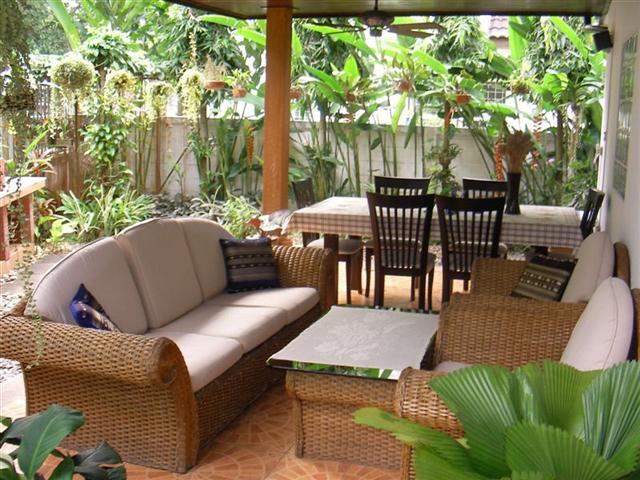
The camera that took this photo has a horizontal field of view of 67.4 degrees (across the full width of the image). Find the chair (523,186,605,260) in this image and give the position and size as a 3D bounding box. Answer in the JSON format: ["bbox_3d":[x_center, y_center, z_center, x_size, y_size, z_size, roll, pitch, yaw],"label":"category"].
[{"bbox_3d":[2.200,-0.188,4.520,0.691,1.088,0.717,5,10,20],"label":"chair"}]

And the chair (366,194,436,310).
[{"bbox_3d":[0.759,0.004,4.451,0.528,1.188,0.611,4,10,16],"label":"chair"}]

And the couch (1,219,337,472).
[{"bbox_3d":[-0.824,0.633,2.798,1.204,1.104,2.195,4,8,21],"label":"couch"}]

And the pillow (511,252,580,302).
[{"bbox_3d":[1.424,0.240,3.035,0.075,0.299,0.316,40,-18,-25],"label":"pillow"}]

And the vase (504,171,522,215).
[{"bbox_3d":[1.807,-0.436,4.469,0.129,0.401,0.306,3,9,21],"label":"vase"}]

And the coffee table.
[{"bbox_3d":[0.256,0.848,2.929,0.766,0.598,1.076,1,9,19],"label":"coffee table"}]

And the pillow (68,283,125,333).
[{"bbox_3d":[-1.243,0.395,2.631,0.238,0.284,0.275,-4,9,-25],"label":"pillow"}]
